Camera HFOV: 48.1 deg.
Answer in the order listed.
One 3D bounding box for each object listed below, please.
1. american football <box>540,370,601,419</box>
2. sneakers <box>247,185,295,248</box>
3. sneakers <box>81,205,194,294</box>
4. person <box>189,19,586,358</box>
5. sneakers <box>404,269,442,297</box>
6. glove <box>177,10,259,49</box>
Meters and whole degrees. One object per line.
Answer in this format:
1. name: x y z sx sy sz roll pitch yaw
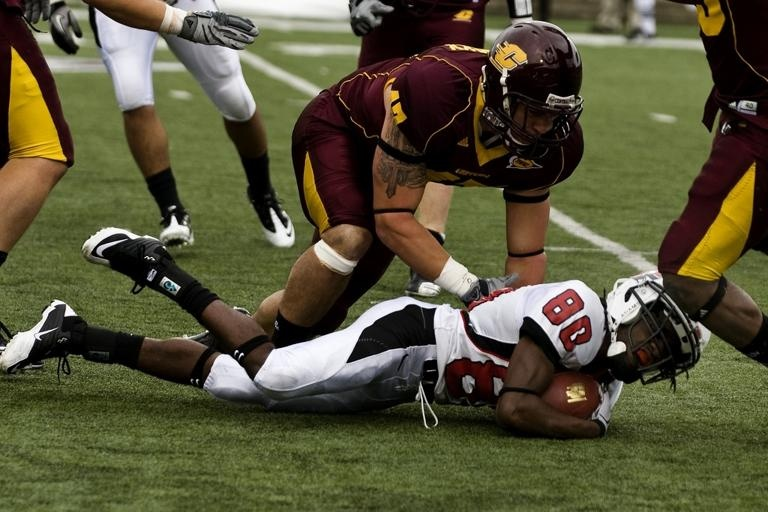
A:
1. american football: 0.697 0.509 3.274 0.213 0.143 0.176 4 8 -10
2. sneakers: -0.689 -0.235 5.438 0.180 0.178 0.484 -25 74 -18
3. sneakers: -0.967 0.004 3.665 0.591 0.196 0.294 20 8 7
4. person: -0.045 -0.195 4.085 0.964 1.452 2.433 8 -1 -44
5. sneakers: 0.201 0.163 4.790 0.238 0.161 0.090 -1 -6 18
6. glove: -0.714 -0.978 3.710 0.290 0.100 0.176 5 52 -25
